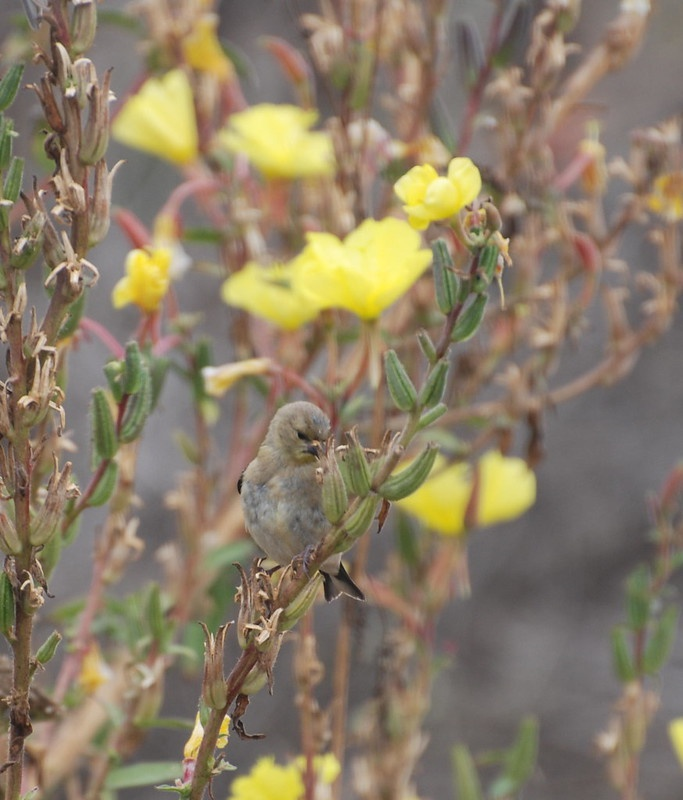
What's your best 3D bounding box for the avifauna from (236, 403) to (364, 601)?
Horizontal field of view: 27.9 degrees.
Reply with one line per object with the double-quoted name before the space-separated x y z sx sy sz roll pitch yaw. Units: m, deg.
"avifauna" -0.068 0.122 1.804 0.128 0.242 0.226 9 5 -2
